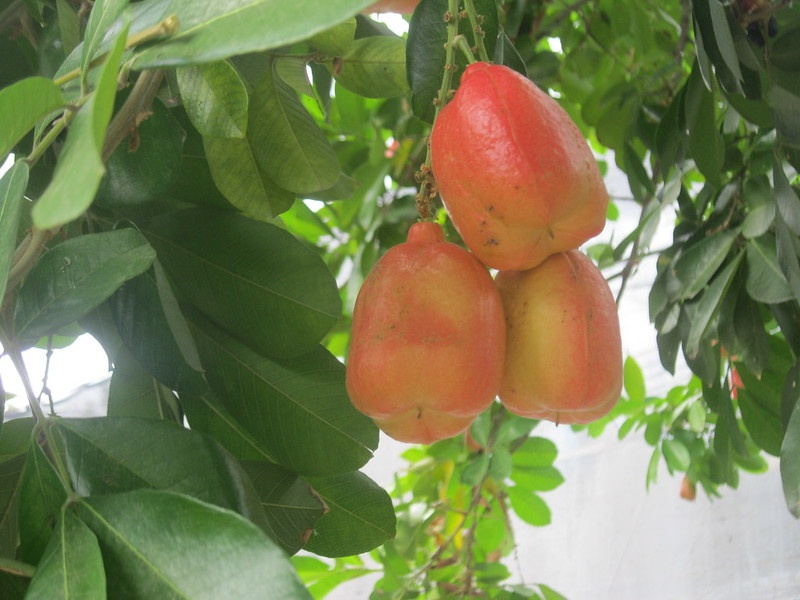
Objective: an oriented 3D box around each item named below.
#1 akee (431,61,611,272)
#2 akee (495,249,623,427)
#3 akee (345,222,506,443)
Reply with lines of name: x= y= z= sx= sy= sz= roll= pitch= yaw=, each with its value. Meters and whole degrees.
akee: x=0.098 y=-0.118 z=0.693 sx=0.141 sy=0.160 sz=0.083 roll=-9 pitch=-17 yaw=-2
akee: x=0.146 y=0.035 z=0.760 sx=0.111 sy=0.184 sz=0.117 roll=2 pitch=-34 yaw=13
akee: x=0.026 y=0.026 z=0.737 sx=0.125 sy=0.210 sz=0.127 roll=10 pitch=-24 yaw=-7
